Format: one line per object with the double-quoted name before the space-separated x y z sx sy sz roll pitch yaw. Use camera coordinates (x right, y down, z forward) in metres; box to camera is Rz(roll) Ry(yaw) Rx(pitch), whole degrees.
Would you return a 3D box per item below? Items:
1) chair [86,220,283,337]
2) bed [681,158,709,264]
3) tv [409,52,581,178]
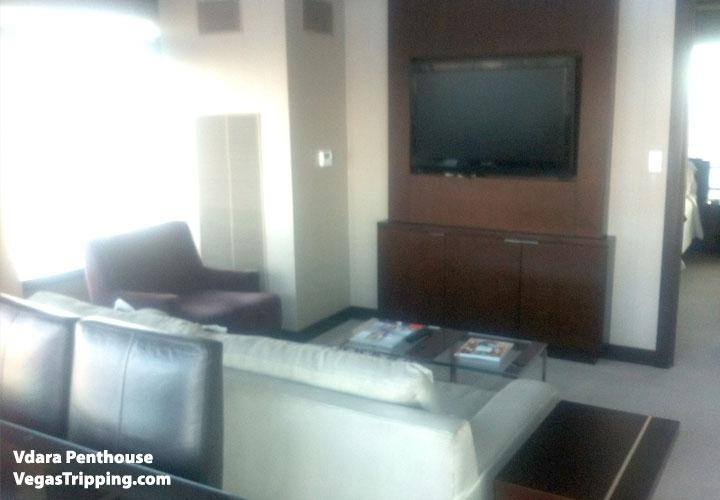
"chair" -1.352 0.411 4.448 1.139 0.895 1.085 6 13 27
"bed" 4.341 -0.542 7.520 0.261 1.181 1.417 5 14 29
"tv" 1.132 -1.103 4.672 1.073 0.742 0.111 5 16 24
